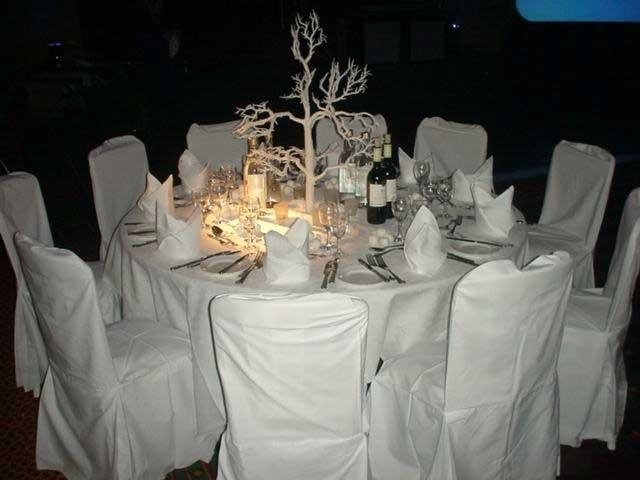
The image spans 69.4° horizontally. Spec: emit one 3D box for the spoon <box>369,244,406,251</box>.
[{"bbox_3d":[0.355,0.039,2.485,0.186,0.030,0.031,-4,-8,-3],"label":"spoon"}]

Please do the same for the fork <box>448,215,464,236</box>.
[{"bbox_3d":[0.798,-0.089,2.754,0.053,0.046,0.360,-5,22,22],"label":"fork"}]

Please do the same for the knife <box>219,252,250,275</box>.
[{"bbox_3d":[-0.440,0.121,2.372,0.152,0.024,0.025,-38,22,-30],"label":"knife"}]

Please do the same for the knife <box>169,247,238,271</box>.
[{"bbox_3d":[-0.598,0.097,2.427,0.379,0.024,0.114,-10,22,-39],"label":"knife"}]

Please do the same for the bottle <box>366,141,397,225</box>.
[{"bbox_3d":[0.360,-0.332,2.756,0.161,0.485,0.330,2,20,7],"label":"bottle"}]

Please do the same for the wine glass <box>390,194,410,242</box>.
[{"bbox_3d":[0.467,-0.163,2.697,0.102,0.239,0.347,4,21,10],"label":"wine glass"}]

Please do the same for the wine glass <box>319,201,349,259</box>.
[{"bbox_3d":[0.071,-0.080,2.512,0.151,0.255,0.318,0,20,1],"label":"wine glass"}]

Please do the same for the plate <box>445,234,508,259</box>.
[{"bbox_3d":[0.849,0.041,2.492,0.329,0.029,0.237,6,21,16],"label":"plate"}]

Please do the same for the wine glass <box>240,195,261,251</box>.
[{"bbox_3d":[-0.396,-0.107,2.641,0.114,0.218,0.401,-3,21,-8],"label":"wine glass"}]

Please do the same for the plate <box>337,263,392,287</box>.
[{"bbox_3d":[0.202,0.171,2.236,0.240,0.032,0.201,-1,21,-3],"label":"plate"}]

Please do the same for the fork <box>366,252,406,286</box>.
[{"bbox_3d":[0.306,0.128,2.312,0.072,0.045,0.288,-14,36,-16],"label":"fork"}]
